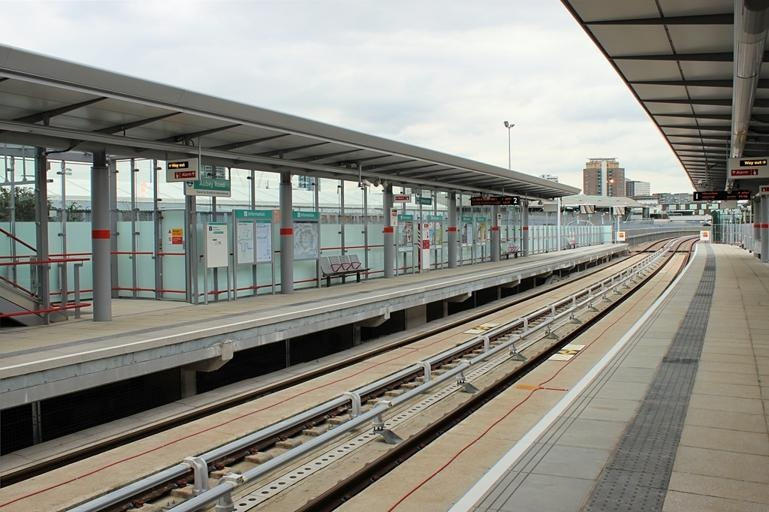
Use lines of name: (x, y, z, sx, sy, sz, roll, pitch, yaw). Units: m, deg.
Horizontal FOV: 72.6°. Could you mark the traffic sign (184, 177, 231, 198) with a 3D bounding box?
traffic sign: (-5.369, -2.095, 15.696, 0.520, 0.559, 1.563, -1, 3, 27)
